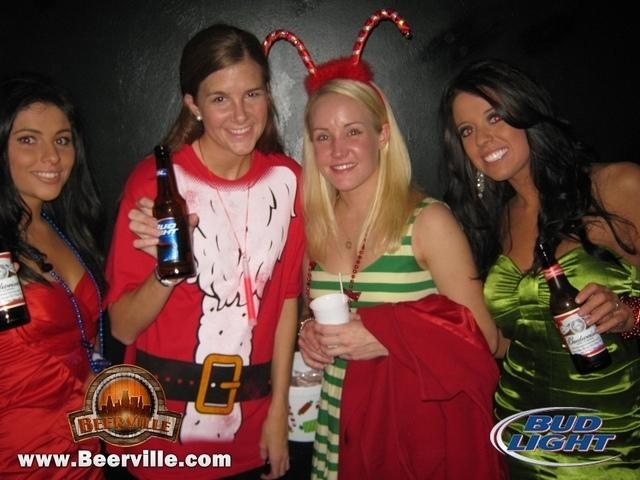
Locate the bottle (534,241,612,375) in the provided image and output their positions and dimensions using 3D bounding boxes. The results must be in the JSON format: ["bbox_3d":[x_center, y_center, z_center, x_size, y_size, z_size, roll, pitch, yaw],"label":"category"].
[{"bbox_3d":[1.176,0.310,2.501,0.249,0.635,0.390,-6,-2,11],"label":"bottle"}]

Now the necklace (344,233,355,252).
[{"bbox_3d":[0.156,0.012,2.809,0.066,0.082,0.020,-2,-17,3],"label":"necklace"}]

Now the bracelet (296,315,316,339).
[{"bbox_3d":[-0.092,0.465,2.896,0.105,0.133,0.054,0,-17,16],"label":"bracelet"}]
